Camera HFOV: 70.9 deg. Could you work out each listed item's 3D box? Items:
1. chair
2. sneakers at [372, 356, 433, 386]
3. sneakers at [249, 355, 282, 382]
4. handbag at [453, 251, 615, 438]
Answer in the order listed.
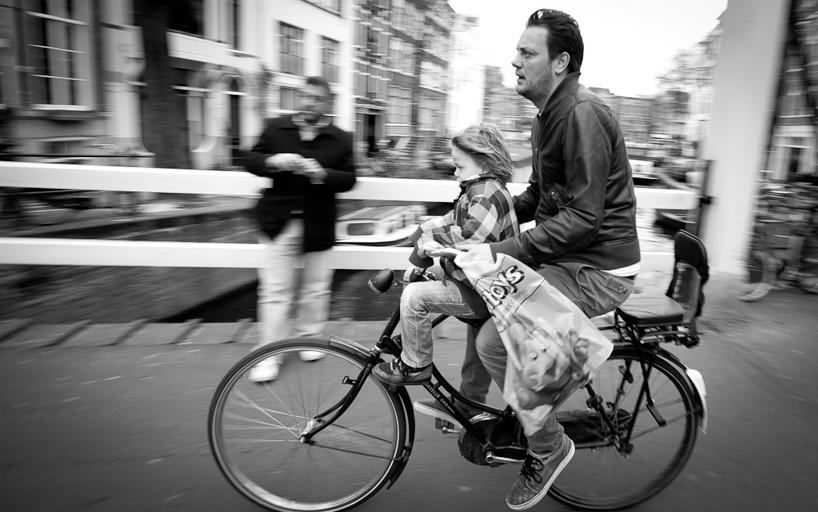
[{"bbox_3d":[1.655,0.221,3.812,0.624,0.627,0.591,-3,17,22],"label":"chair"},{"bbox_3d":[-0.046,0.710,3.612,0.405,0.157,0.147,5,14,-3],"label":"sneakers"},{"bbox_3d":[-0.903,0.709,3.659,0.135,0.106,0.266,1,1,10],"label":"sneakers"},{"bbox_3d":[0.746,0.439,3.550,1.052,0.819,0.392,46,8,0],"label":"handbag"}]
